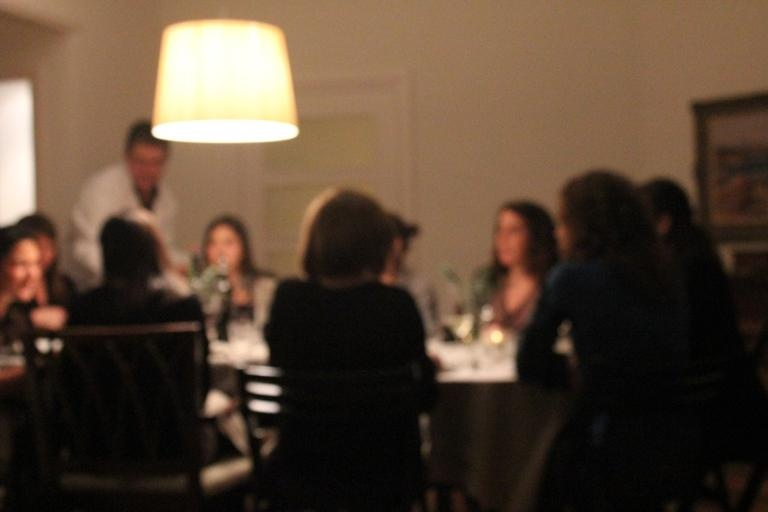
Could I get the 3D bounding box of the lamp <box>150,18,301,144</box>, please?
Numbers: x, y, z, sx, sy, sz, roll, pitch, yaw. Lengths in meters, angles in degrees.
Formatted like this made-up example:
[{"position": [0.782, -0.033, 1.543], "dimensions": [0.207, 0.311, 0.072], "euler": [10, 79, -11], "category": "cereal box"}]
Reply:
[{"position": [-0.430, -0.454, 2.019], "dimensions": [0.350, 0.227, 0.345], "euler": [0, 0, 14], "category": "lamp"}]
